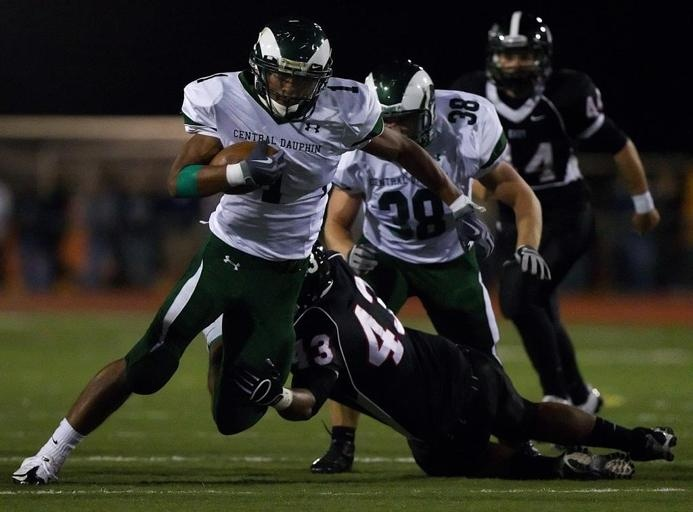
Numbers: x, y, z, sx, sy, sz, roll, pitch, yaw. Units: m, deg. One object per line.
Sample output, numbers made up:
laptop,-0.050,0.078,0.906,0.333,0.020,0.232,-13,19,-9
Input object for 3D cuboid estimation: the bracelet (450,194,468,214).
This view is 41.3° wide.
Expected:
bracelet,0.517,-0.249,4.230,0.085,0.038,0.064,-36,6,19

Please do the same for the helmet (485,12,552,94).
helmet,1.031,-1.277,5.673,0.372,0.417,0.508,-1,29,9

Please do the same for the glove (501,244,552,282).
glove,0.835,0.045,4.344,0.167,0.091,0.215,16,33,-14

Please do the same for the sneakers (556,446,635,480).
sneakers,1.118,0.921,4.197,0.358,0.132,0.159,1,5,6

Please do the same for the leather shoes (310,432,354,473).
leather shoes,-0.048,0.959,4.508,0.268,0.250,0.127,0,-11,3

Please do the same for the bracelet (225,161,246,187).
bracelet,-0.449,-0.331,3.673,0.076,0.094,0.081,-4,7,16

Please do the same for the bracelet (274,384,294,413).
bracelet,-0.268,0.614,3.992,0.091,0.074,0.096,40,10,13

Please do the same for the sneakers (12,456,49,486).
sneakers,-1.393,0.940,4.033,0.145,0.107,0.061,-1,-9,-18

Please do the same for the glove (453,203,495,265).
glove,0.574,-0.140,4.340,0.122,0.263,0.199,-41,34,-7

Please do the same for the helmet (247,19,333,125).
helmet,-0.263,-0.807,3.939,0.350,0.343,0.412,-1,40,-7

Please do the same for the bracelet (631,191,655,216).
bracelet,1.724,-0.315,5.430,0.138,0.130,0.133,-15,9,40

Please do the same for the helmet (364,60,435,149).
helmet,0.328,-0.745,4.607,0.315,0.371,0.411,2,42,15

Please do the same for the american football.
american football,-0.419,-0.423,3.933,0.335,0.189,0.256,-7,3,-3

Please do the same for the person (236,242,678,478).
person,0.433,0.619,4.344,2.104,0.875,0.823,17,57,7

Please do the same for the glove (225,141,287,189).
glove,-0.378,-0.366,3.720,0.184,0.122,0.237,-14,27,-35
